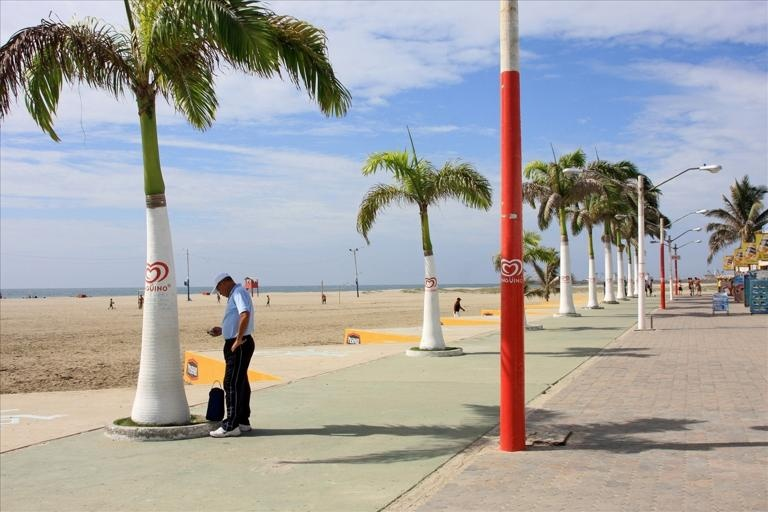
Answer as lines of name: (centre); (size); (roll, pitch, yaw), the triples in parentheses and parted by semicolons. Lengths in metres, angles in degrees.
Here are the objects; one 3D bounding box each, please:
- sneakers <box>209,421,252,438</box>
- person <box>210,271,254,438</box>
sneakers: (-2.558, 2.910, 13.013); (0.669, 0.234, 0.219); (3, -7, -8)
person: (-2.564, 1.663, 13.123); (0.739, 2.692, 0.495); (-2, -2, 2)
